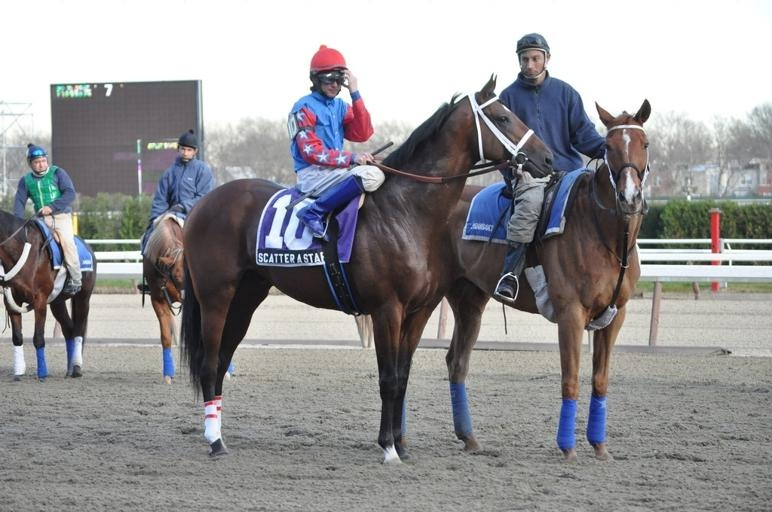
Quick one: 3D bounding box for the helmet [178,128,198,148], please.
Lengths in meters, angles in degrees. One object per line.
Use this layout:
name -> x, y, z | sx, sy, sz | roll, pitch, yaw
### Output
helmet -> -2.777, -1.672, 17.127 | 0.235, 0.185, 0.274 | 9, 3, -4

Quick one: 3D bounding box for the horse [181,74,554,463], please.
horse -> -0.128, 0.418, 14.619 | 4.822, 4.536, 1.593 | 0, -6, 11

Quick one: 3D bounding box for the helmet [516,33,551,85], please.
helmet -> 1.796, -2.337, 14.578 | 0.420, 0.666, 0.493 | -4, 6, 10

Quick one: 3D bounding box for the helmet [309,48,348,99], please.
helmet -> -0.683, -2.245, 14.183 | 0.373, 0.513, 0.469 | -12, 28, -27

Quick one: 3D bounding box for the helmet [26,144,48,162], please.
helmet -> -4.979, -1.477, 17.230 | 0.264, 0.223, 0.305 | -3, 15, -10

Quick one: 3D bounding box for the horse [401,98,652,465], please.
horse -> 2.097, -0.089, 15.548 | 2.367, 4.195, 4.438 | 3, 15, 11

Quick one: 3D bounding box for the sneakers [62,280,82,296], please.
sneakers -> -4.485, 0.452, 17.267 | 0.277, 0.277, 0.163 | 5, -2, -39
